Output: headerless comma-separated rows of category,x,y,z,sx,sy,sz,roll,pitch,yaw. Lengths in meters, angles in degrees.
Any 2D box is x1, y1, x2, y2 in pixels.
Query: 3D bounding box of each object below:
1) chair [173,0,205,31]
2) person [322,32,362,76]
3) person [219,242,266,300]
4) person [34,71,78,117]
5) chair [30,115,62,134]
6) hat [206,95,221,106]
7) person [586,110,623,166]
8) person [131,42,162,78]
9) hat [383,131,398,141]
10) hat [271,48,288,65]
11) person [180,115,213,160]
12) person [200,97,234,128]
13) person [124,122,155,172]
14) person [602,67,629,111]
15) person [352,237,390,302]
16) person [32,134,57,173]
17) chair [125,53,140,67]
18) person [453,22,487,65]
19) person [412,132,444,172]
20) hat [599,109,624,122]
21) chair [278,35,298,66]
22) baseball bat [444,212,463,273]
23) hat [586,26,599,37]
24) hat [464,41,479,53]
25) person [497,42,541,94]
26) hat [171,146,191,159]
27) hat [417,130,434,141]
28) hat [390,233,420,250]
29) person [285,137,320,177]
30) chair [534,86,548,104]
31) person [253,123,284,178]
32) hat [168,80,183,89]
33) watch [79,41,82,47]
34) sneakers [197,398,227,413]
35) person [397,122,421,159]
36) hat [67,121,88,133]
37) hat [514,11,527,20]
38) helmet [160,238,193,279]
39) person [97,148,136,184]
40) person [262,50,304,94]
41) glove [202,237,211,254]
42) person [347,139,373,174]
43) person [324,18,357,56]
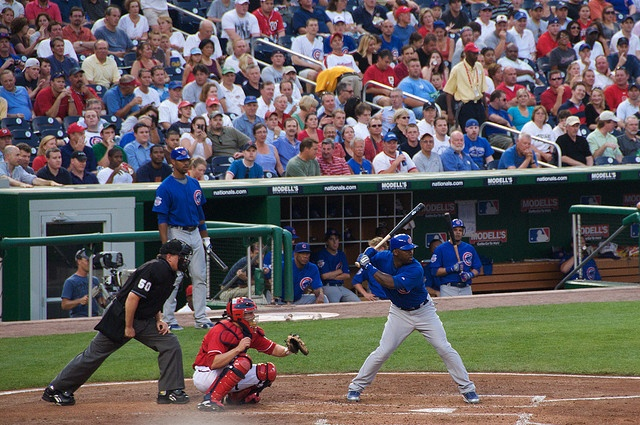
chair,-3.621,-5.405,33.425,0.889,1.168,0.883,-3,5,-23
person,0.551,-4.050,30.830,0.897,0.954,0.812,1,14,0
person,-1.684,1.212,25.530,0.755,1.177,0.336,5,-2,15
person,-6.070,-2.586,28.042,1.011,1.295,0.891,2,9,18
chair,-6.195,-1.963,27.687,0.454,0.570,0.426,-2,1,-39
hat,-2.470,-2.615,28.166,0.266,0.165,0.383,0,7,-12
person,7.126,-1.788,30.381,0.752,1.580,0.931,-11,-17,12
person,-4.159,-3.740,29.418,0.837,0.869,0.468,-10,15,-34
hat,1.606,-1.787,28.405,0.324,0.236,0.518,2,15,4
hat,-1.009,-3.925,30.494,0.408,0.521,0.520,1,-7,-3
person,-2.711,-1.523,27.273,0.619,1.281,0.687,-1,9,-25
person,-2.346,-2.351,28.127,0.483,0.447,0.830,-10,21,-27
person,-3.873,-1.427,26.930,0.854,1.142,0.889,2,7,24
person,7.815,-3.119,31.909,0.764,1.453,0.813,-2,4,3
person,1.142,1.110,26.840,0.685,1.293,0.834,-11,31,-40
person,-5.823,-1.256,26.313,0.383,0.843,0.761,-6,-10,32
chair,-4.607,-3.790,30.110,0.289,0.414,0.317,0,8,-13
person,3.892,-4.522,32.351,0.479,0.665,1.571,-9,22,6
person,2.535,-1.321,28.815,0.784,1.193,0.560,0,-6,-34
hat,7.060,-2.420,30.148,0.384,0.250,0.270,0,16,-4
chair,-0.793,-4.297,32.408,0.592,0.708,0.495,8,-10,-33
baseball bat,2.959,0.692,27.369,0.140,1.394,0.149,-3,14,41
hat,7.422,-5.031,33.775,0.280,0.229,0.488,-1,-6,0
hat,3.655,-4.038,29.820,0.282,0.175,0.208,-1,11,24
person,5.314,-3.957,32.782,0.859,1.212,1.526,11,17,34
hat,-2.694,-1.156,23.265,0.213,0.176,0.290,-3,1,-35
hat,2.459,-1.801,28.635,0.304,0.208,0.470,2,15,4
hat,1.398,0.475,21.175,0.325,0.194,0.258,-3,3,13
person,-0.425,-1.228,27.599,0.708,1.249,0.826,3,15,5
chair,5.889,-3.147,32.410,0.386,0.581,0.452,0,6,-7
person,-1.309,-1.432,27.800,0.868,1.338,0.698,-3,-9,-17
hat,-3.375,-3.010,28.488,0.383,0.223,0.574,-1,0,-15
watch,-5.831,-4.150,29.891,0.107,0.122,0.027,-3,-8,2
sneakers,-1.831,3.222,20.608,0.368,0.188,0.220,1,-7,4
person,2.180,-1.717,28.840,0.748,0.847,0.452,-4,6,-3
hat,-5.264,-1.873,26.429,0.270,0.163,0.205,-7,7,-2
hat,5.531,-5.498,33.977,0.326,0.214,0.487,3,15,5
helmet,-2.470,0.704,21.115,0.525,0.600,0.422,9,4,7
person,-4.404,-1.068,26.682,0.764,0.777,0.625,11,17,33
person,-0.998,-3.528,30.355,0.713,1.134,1.093,-6,8,-17
glove,-2.213,0.611,23.718,0.177,0.263,0.084,-16,6,-43
person,0.872,-1.312,28.206,0.735,0.794,0.402,-2,0,-35
person,0.472,-4.555,31.668,1.089,1.063,0.605,-5,4,-25
